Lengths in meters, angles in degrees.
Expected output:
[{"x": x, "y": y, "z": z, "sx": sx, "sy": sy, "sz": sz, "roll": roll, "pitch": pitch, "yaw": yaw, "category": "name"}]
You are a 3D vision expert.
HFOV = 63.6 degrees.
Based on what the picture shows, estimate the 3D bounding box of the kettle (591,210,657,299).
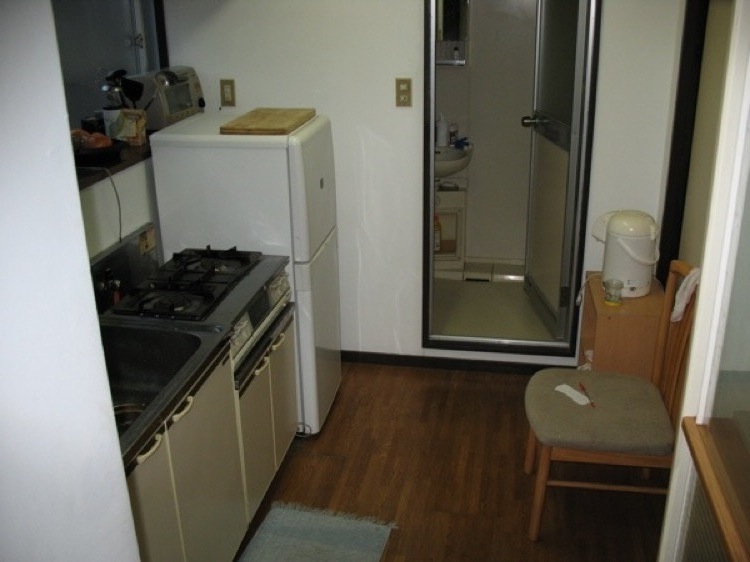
[{"x": 1.176, "y": -0.165, "z": 2.983, "sx": 0.278, "sy": 0.425, "sz": 0.351, "roll": 0, "pitch": 17, "yaw": 4, "category": "kettle"}]

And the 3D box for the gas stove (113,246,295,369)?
[{"x": -0.679, "y": 0.099, "z": 2.520, "sx": 0.499, "sy": 0.270, "sz": 0.755, "roll": 5, "pitch": 21, "yaw": 7, "category": "gas stove"}]

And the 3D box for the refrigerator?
[{"x": -0.517, "y": -0.069, "z": 3.206, "sx": 0.703, "sy": 1.529, "sz": 1.017, "roll": 3, "pitch": 22, "yaw": 5, "category": "refrigerator"}]

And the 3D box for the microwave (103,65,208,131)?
[{"x": -1.073, "y": -0.892, "z": 2.969, "sx": 0.170, "sy": 0.181, "sz": 0.408, "roll": 6, "pitch": 24, "yaw": 1, "category": "microwave"}]
